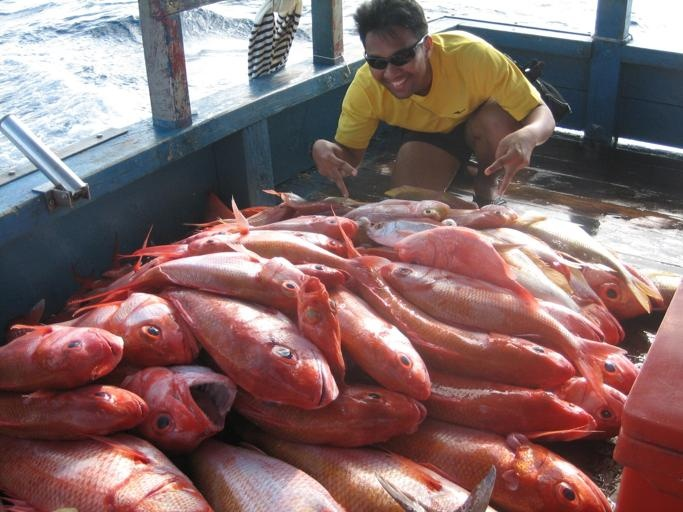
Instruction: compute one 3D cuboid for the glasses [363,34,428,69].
[{"bbox_3d":[0.333,-1.157,3.249,0.373,0.182,0.136,-6,30,-14],"label":"glasses"}]
